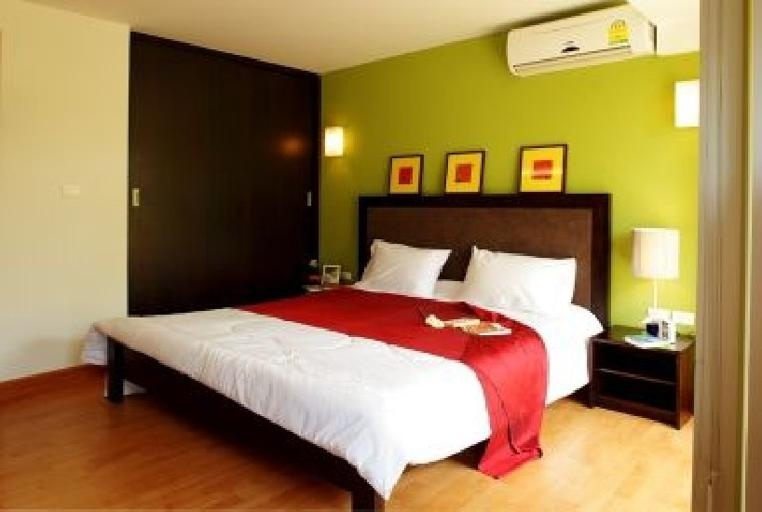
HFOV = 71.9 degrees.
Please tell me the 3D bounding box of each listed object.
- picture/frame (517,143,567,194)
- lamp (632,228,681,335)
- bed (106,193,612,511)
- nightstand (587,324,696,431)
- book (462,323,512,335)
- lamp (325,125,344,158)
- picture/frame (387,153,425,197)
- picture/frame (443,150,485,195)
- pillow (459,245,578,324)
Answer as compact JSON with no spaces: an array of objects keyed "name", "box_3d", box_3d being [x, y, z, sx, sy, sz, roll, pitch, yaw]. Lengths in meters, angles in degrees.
[{"name":"picture/frame","box_3d":[1.017,-0.540,3.276,0.335,0.325,0.035,-3,-5,40]},{"name":"lamp","box_3d":[1.457,0.140,2.719,0.189,0.552,0.306,-4,9,-24]},{"name":"bed","box_3d":[0.134,0.069,2.829,1.719,1.068,1.695,2,-1,-44]},{"name":"nightstand","box_3d":[1.360,0.603,2.761,0.479,0.463,0.330,6,10,33]},{"name":"book","box_3d":[0.521,0.360,2.536,0.222,0.012,0.182,-5,10,-32]},{"name":"lamp","box_3d":[-0.332,-0.855,3.932,0.090,0.218,0.326,-3,9,-23]},{"name":"picture/frame","box_3d":[0.199,-0.597,3.840,0.302,0.309,0.041,3,3,35]},{"name":"picture/frame","box_3d":[0.587,-0.573,3.606,0.320,0.325,0.033,2,1,36]},{"name":"pillow","box_3d":[0.803,0.162,3.047,0.707,0.321,0.274,11,8,32]}]
